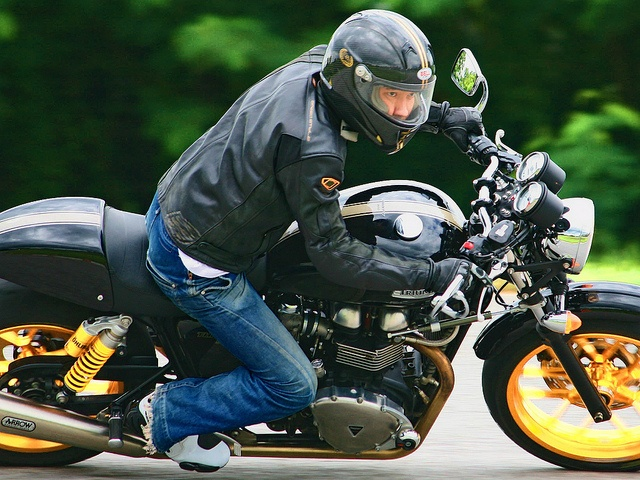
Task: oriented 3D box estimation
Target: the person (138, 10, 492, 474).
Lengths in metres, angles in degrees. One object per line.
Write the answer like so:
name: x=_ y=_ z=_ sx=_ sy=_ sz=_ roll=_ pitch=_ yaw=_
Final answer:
person: x=-0.233 y=0.054 z=5.001 sx=1.414 sy=2.600 sz=0.642 roll=6 pitch=19 yaw=-12
